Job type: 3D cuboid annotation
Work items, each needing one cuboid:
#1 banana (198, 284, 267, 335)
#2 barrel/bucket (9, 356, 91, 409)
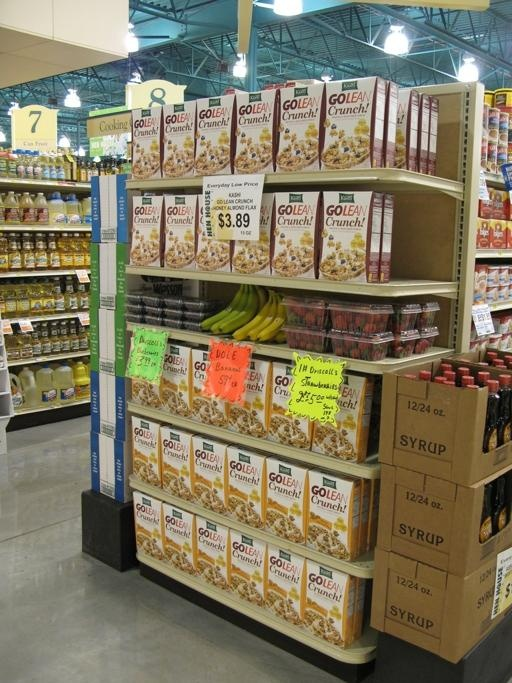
[{"bbox_3d":[-0.060,-0.156,2.418,0.182,0.136,0.433,9,38,32],"label":"banana"},{"bbox_3d":[-2.223,0.425,5.838,0.370,0.629,1.047,5,9,43],"label":"barrel/bucket"}]
